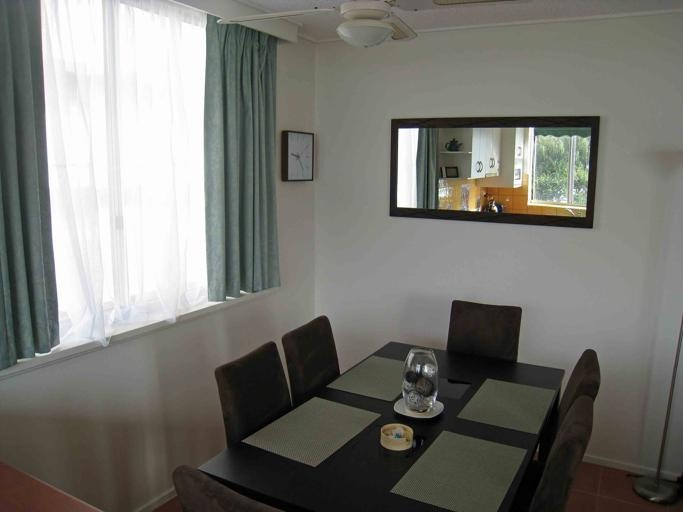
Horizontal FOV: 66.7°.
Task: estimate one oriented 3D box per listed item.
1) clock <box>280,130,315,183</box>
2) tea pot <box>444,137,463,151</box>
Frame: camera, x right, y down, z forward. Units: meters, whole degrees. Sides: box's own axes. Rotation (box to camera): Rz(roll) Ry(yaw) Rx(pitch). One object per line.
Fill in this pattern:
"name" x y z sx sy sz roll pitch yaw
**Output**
"clock" -0.385 -0.845 4.330 0.058 0.474 0.448 4 4 29
"tea pot" 0.885 -0.896 4.089 0.123 0.094 0.076 2 9 26
